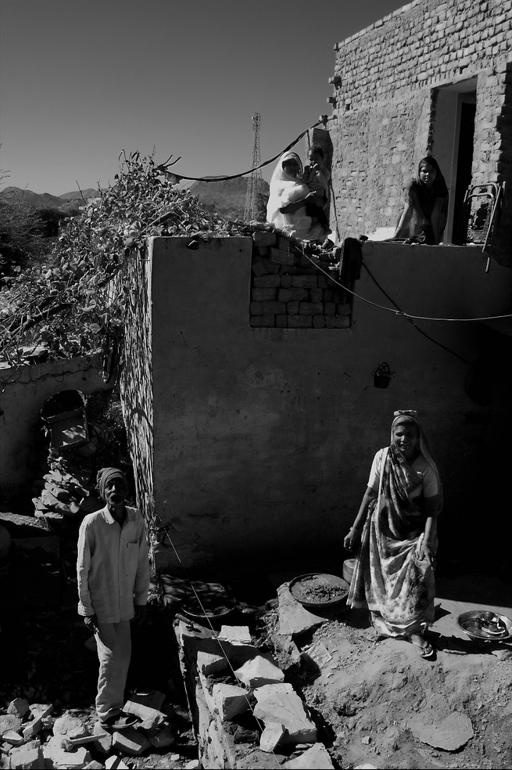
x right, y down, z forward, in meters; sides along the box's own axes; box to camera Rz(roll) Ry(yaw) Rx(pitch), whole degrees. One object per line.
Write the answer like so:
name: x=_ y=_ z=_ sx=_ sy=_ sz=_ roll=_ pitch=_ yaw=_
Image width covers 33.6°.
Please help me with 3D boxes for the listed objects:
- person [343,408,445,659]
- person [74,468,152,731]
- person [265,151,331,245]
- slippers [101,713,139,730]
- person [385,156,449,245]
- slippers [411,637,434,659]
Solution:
person: x=0.983 y=0.952 z=5.600 sx=0.377 sy=1.583 sz=0.794 roll=-10 pitch=18 yaw=-38
person: x=-0.892 y=1.320 z=5.343 sx=0.326 sy=1.641 sz=0.461 roll=5 pitch=15 yaw=15
person: x=0.379 y=-1.739 z=7.769 sx=0.584 sy=0.763 sz=0.454 roll=2 pitch=14 yaw=3
slippers: x=-0.873 y=2.136 z=5.385 sx=0.197 sy=0.092 sz=0.094 roll=0 pitch=5 yaw=-3
person: x=1.469 y=-1.626 z=7.453 sx=0.584 sy=0.737 sz=0.460 roll=-2 pitch=15 yaw=-12
slippers: x=1.079 y=1.679 z=5.458 sx=0.131 sy=0.074 sz=0.219 roll=1 pitch=14 yaw=-2
